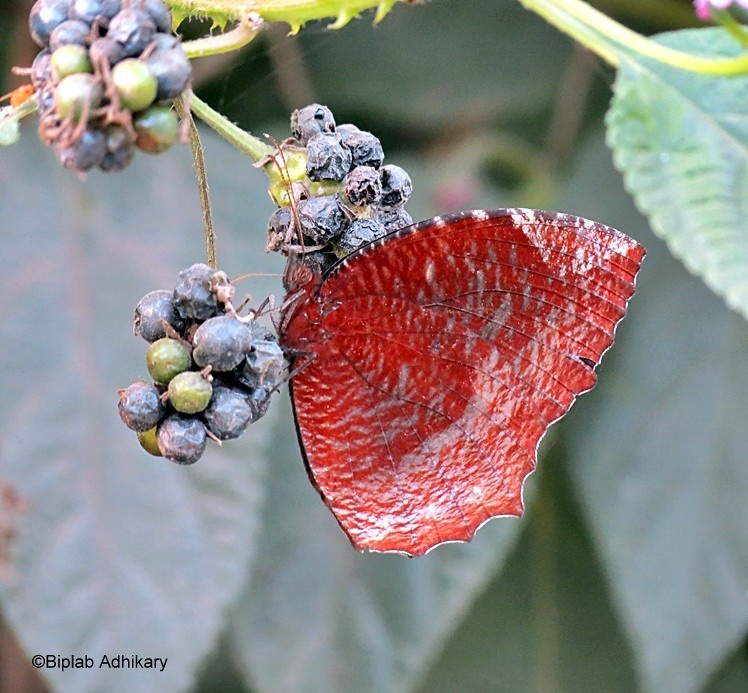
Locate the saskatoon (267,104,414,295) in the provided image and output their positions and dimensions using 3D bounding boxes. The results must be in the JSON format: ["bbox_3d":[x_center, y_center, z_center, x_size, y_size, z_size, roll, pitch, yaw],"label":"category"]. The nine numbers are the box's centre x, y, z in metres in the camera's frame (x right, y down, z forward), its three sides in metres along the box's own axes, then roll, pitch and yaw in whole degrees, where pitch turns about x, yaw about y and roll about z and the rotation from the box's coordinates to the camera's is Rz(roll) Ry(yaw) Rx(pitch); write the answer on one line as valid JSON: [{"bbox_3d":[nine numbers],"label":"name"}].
[{"bbox_3d":[-0.037,-0.215,1.669,0.257,0.183,0.115,52,28,-3],"label":"saskatoon"}]

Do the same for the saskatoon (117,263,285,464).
[{"bbox_3d":[-0.246,0.017,1.569,0.208,0.165,0.270,35,76,-26],"label":"saskatoon"}]

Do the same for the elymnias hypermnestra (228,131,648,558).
[{"bbox_3d":[0.152,0.019,1.753,0.566,0.610,0.338,30,52,-29],"label":"elymnias hypermnestra"}]
